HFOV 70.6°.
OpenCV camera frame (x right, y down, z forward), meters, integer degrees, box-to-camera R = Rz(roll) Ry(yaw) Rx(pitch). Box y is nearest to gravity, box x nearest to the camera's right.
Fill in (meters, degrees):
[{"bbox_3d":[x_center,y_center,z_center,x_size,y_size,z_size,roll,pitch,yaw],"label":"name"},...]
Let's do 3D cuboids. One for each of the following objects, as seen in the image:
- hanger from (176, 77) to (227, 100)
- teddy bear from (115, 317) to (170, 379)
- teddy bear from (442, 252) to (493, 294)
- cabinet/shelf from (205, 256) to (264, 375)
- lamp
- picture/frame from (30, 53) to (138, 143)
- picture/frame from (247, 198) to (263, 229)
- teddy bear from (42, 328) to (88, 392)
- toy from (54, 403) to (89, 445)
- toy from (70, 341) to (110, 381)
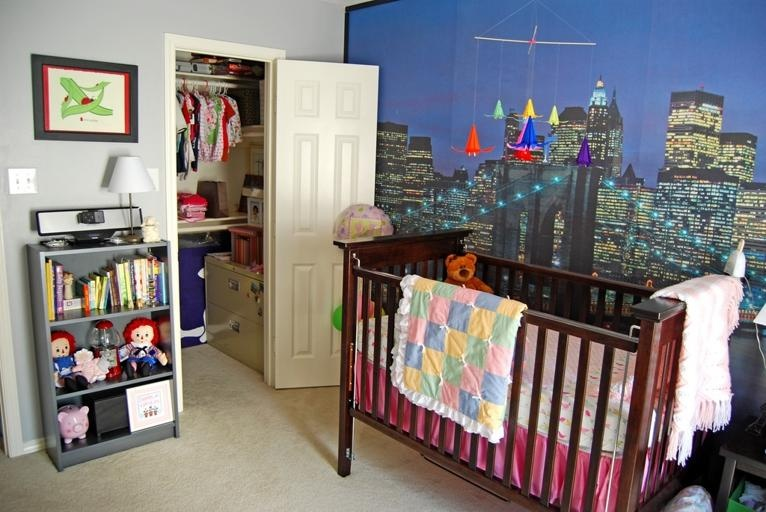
[{"bbox_3d":[-1.591,-1.480,4.754,0.471,0.157,0.296,-6,12,-29],"label":"hanger"},{"bbox_3d":[-1.640,0.595,3.637,0.311,0.333,0.315,0,11,-36],"label":"teddy bear"},{"bbox_3d":[0.533,0.107,3.559,0.313,0.306,0.259,-6,9,-37],"label":"teddy bear"},{"bbox_3d":[-1.290,0.517,4.746,0.420,0.754,0.798,-4,18,-45],"label":"cabinet/shelf"},{"bbox_3d":[-1.631,-0.375,3.520,0.269,0.552,0.307,-4,12,-23],"label":"lamp"},{"bbox_3d":[-1.908,-1.004,3.390,0.587,0.501,0.042,-6,12,-32],"label":"picture/frame"},{"bbox_3d":[-1.137,-0.384,4.799,0.046,0.292,0.261,-6,7,-37],"label":"picture/frame"},{"bbox_3d":[-1.976,0.657,3.397,0.177,0.357,0.200,-6,13,-32],"label":"teddy bear"},{"bbox_3d":[-1.986,1.079,3.516,0.214,0.232,0.193,7,6,40],"label":"toy"},{"bbox_3d":[-1.877,0.688,3.519,0.232,0.224,0.151,-13,21,-41],"label":"toy"}]
